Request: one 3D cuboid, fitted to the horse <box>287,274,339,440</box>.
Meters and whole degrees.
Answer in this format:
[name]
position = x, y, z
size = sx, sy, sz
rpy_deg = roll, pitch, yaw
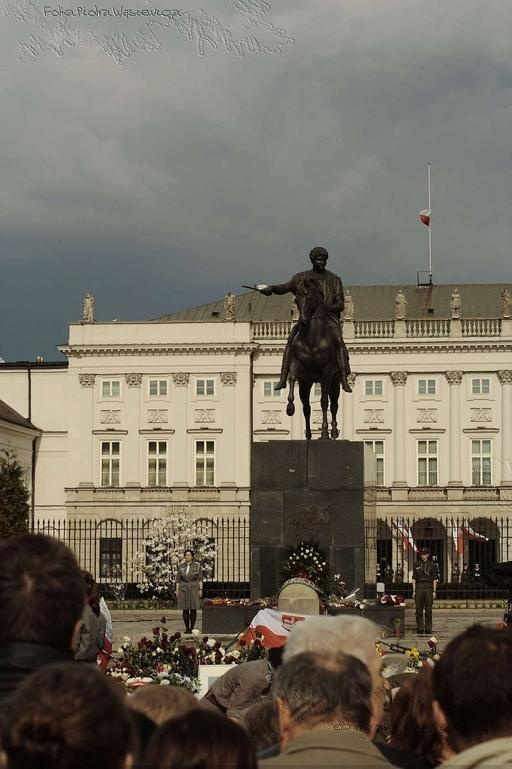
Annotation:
[horse]
position = 0.650, -0.207, 19.547
size = 0.471, 1.742, 2.039
rpy_deg = 2, -9, 9
